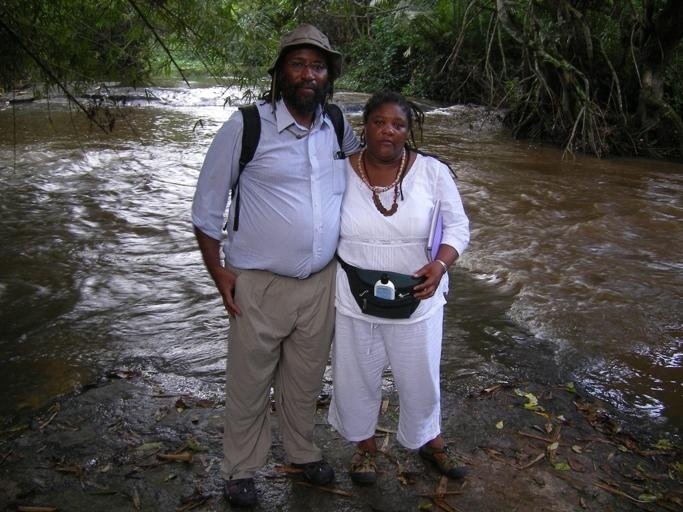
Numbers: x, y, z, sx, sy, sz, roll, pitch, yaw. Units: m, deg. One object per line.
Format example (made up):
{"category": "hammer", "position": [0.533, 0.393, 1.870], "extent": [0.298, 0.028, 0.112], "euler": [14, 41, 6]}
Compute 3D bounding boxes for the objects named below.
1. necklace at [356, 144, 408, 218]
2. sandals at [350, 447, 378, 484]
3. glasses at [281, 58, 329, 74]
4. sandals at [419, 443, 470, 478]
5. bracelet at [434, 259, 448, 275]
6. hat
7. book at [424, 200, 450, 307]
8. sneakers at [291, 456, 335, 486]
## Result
{"category": "necklace", "position": [0.204, -0.400, 2.456], "extent": [0.223, 0.361, 0.056], "euler": [-8, -13, 5]}
{"category": "sandals", "position": [0.131, 1.196, 2.784], "extent": [0.085, 0.081, 0.219], "euler": [1, 7, 1]}
{"category": "glasses", "position": [-0.168, -0.974, 2.510], "extent": [0.198, 0.065, 0.062], "euler": [-3, 21, -14]}
{"category": "sandals", "position": [0.577, 1.164, 2.820], "extent": [0.269, 0.115, 0.125], "euler": [25, 44, 20]}
{"category": "bracelet", "position": [0.519, 0.056, 2.494], "extent": [0.030, 0.073, 0.055], "euler": [-38, 13, -26]}
{"category": "hat", "position": [-0.156, -1.101, 2.605], "extent": [0.320, 0.177, 0.334], "euler": [2, -19, -2]}
{"category": "book", "position": [0.485, -0.127, 2.501], "extent": [0.078, 0.291, 0.177], "euler": [6, 22, 11]}
{"category": "sneakers", "position": [-0.138, 1.209, 2.779], "extent": [0.259, 0.110, 0.111], "euler": [2, 19, 35]}
